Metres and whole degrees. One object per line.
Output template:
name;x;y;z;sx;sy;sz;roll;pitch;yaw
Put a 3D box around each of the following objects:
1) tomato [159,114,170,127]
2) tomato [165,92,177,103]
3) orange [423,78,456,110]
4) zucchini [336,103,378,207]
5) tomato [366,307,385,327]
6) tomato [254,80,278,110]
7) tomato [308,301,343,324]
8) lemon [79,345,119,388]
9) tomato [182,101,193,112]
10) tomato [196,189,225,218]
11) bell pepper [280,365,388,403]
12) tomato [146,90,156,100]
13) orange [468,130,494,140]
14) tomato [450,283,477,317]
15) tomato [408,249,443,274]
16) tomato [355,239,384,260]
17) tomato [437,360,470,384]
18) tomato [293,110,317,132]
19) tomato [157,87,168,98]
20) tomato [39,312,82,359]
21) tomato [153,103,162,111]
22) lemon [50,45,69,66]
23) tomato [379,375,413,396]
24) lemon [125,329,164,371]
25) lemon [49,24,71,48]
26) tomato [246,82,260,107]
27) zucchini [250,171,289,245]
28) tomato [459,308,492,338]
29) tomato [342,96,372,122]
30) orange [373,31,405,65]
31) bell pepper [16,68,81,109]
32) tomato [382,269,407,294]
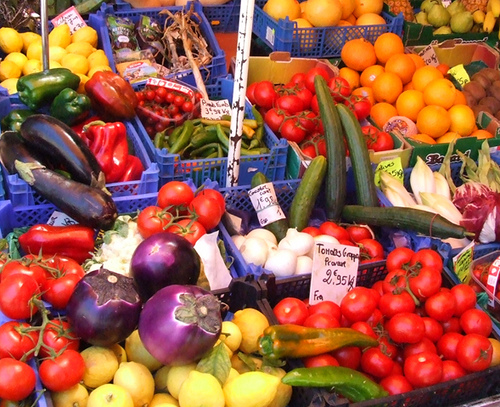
tomato;-0.739;-0.713;3.551;0.079;0.094;0.084;0;-11;37
tomato;-0.695;-0.926;3.581;0.069;0.081;0.088;1;-1;3
orange;1.749;-1.010;3.790;0.183;0.232;0.214;15;50;-10
zucchini;0.827;-0.349;3.191;0.155;1.028;0.142;-1;-12;-42
tomato;0.674;0.614;2.202;0.088;0.119;0.105;5;60;2
tomato;0.153;-0.986;3.812;0.209;0.240;0.223;-17;-3;24
tomato;0.411;0.573;2.203;0.122;0.134;0.131;17;-9;2
lemon;-0.640;0.685;1.738;0.155;0.140;0.117;8;-8;-42
tomato;-0.545;-0.848;3.615;0.076;0.080;0.096;-38;46;4
tomato;-0.250;0.010;2.705;0.142;0.171;0.187;4;-13;5
bell pepper;0.369;0.777;1.865;0.520;0.214;0.153;6;-17;-21
tomato;-0.878;-0.959;3.598;0.060;0.084;0.067;-13;34;-15
orange;2.138;-0.641;3.798;0.126;0.122;0.108;-6;20;-39
tomato;1.198;0.548;2.304;0.108;0.157;0.121;2;20;7
tomato;1.033;0.326;2.418;0.147;0.163;0.150;3;-17;37
tomato;0.792;0.297;2.736;0.134;0.161;0.173;-17;-17;6
tomato;1.061;0.834;2.147;0.111;0.162;0.123;-2;12;6
tomato;0.468;-0.699;3.545;0.164;0.203;0.175;-5;-9;-4
tomato;-0.776;-0.981;3.592;0.071;0.097;0.084;-5;53;0
tomato;-0.843;0.583;1.769;0.111;0.148;0.110;19;-19;-7
tomato;-0.820;-0.850;3.601;0.060;0.072;0.067;2;13;-3
lemon;-1.770;-1.368;3.866;0.165;0.150;0.138;9;-19;-6
tomato;0.715;0.882;2.000;0.088;0.106;0.100;-9;29;-21
lemon;-0.475;0.655;1.917;0.149;0.210;0.172;-1;26;2
lemon;-1.858;-1.626;3.991;0.207;0.187;0.198;-13;34;-23
tomato;0.009;-1.031;3.919;0.173;0.210;0.218;1;2;-15
zucchini;0.151;0.093;2.959;0.168;0.651;0.184;-16;-16;28
tomato;1.237;0.663;2.289;0.136;0.152;0.151;-2;-19;3
tomato;0.981;-0.845;3.755;0.183;0.227;0.202;1;4;28
orange;1.399;-1.589;4.234;0.261;0.316;0.337;1;12;2
bell pepper;-1.591;-0.946;3.358;0.249;0.265;0.518;24;30;28
tomato;0.821;0.436;2.354;0.116;0.130;0.133;11;51;7
